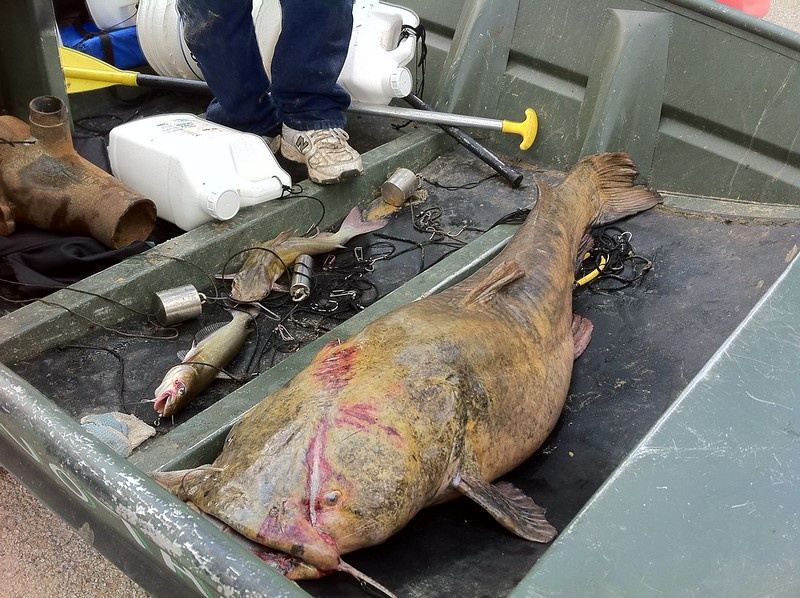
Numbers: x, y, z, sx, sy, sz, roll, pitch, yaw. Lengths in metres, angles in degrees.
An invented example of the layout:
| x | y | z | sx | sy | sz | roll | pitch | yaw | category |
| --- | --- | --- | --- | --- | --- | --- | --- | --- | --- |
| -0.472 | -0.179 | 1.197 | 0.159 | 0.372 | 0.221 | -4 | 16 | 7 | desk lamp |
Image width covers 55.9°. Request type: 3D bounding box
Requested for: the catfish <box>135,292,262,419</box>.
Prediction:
| x | y | z | sx | sy | sz | roll | pitch | yaw | category |
| --- | --- | --- | --- | --- | --- | --- | --- | --- | --- |
| -0.879 | 0.228 | 3.265 | 0.196 | 0.197 | 0.568 | -20 | 23 | 27 | catfish |

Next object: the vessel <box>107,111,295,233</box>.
| x | y | z | sx | sy | sz | roll | pitch | yaw | category |
| --- | --- | --- | --- | --- | --- | --- | --- | --- | --- |
| -1.086 | -0.784 | 3.875 | 0.776 | 0.412 | 0.567 | 26 | 37 | 30 | vessel |

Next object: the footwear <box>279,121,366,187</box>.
| x | y | z | sx | sy | sz | roll | pitch | yaw | category |
| --- | --- | --- | --- | --- | --- | --- | --- | --- | --- |
| -0.467 | -0.844 | 4.262 | 0.273 | 0.256 | 0.551 | -23 | 40 | -37 | footwear |
